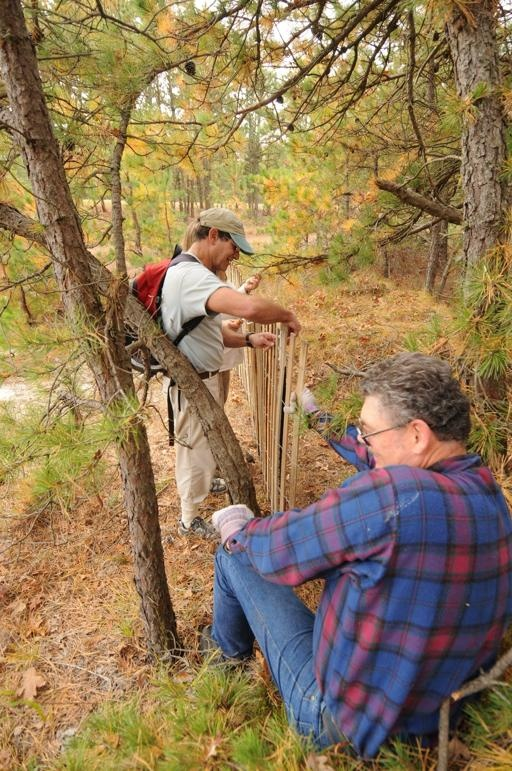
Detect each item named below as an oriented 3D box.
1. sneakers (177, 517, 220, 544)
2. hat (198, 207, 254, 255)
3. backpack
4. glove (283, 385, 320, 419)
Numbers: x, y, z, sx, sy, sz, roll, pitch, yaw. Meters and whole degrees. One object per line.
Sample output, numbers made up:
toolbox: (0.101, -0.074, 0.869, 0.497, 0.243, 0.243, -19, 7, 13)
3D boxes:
sneakers: (-0.303, 0.786, 3.321, 0.266, 0.117, 0.097, 5, -3, 7)
hat: (-0.153, -0.723, 2.891, 0.237, 0.218, 0.259, -4, 19, -6)
backpack: (-0.423, -0.302, 2.767, 0.349, 0.574, 0.609, -6, 19, -11)
glove: (0.192, 0.073, 2.642, 0.084, 0.080, 0.255, 20, 7, 25)
